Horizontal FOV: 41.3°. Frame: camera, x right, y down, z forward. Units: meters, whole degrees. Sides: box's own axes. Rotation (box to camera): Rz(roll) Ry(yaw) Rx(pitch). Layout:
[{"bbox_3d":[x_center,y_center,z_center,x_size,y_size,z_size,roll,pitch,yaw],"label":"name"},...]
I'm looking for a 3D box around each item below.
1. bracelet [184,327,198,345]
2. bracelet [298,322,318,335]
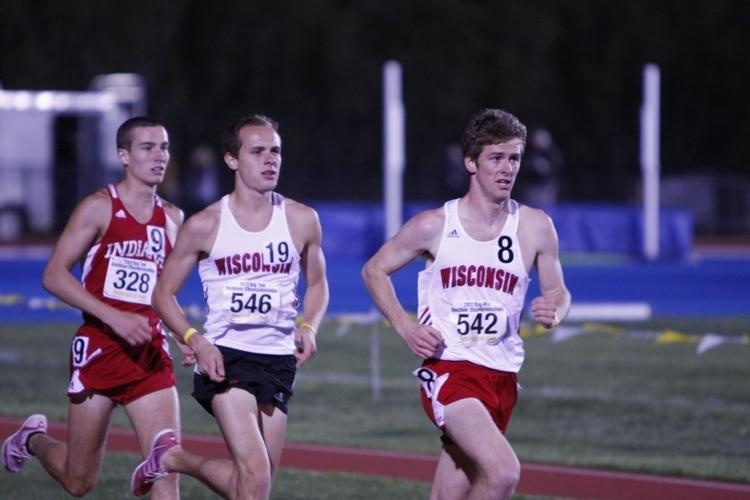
[{"bbox_3d":[-1.313,0.605,7.096,0.042,0.117,0.087,29,38,-9],"label":"bracelet"},{"bbox_3d":[-0.479,0.587,7.349,0.092,0.026,0.094,32,-2,-32],"label":"bracelet"}]
